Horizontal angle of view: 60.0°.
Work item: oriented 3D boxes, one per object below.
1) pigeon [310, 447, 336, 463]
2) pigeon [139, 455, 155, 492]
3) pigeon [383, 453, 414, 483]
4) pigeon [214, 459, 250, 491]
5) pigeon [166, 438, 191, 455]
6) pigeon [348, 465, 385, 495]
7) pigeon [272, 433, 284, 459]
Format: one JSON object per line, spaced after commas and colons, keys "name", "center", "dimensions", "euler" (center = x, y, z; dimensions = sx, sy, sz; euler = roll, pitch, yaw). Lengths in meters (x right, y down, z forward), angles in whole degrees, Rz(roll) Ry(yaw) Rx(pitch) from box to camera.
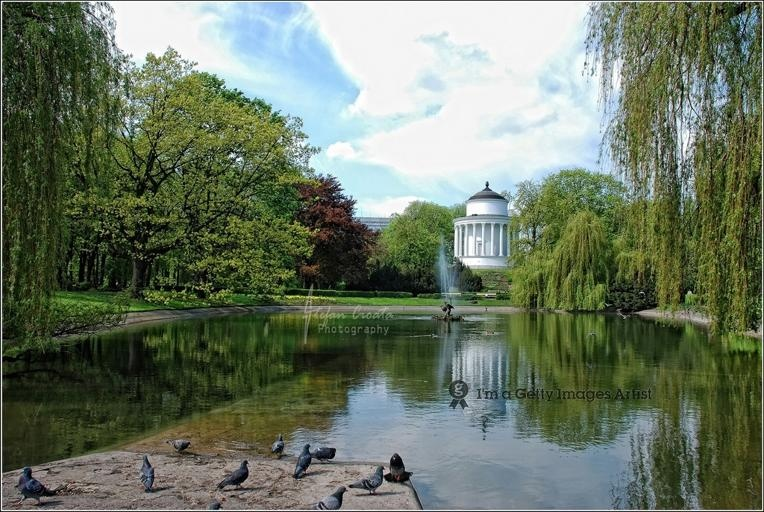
{"name": "pigeon", "center": [-1.198, 3.939, 13.197], "dimensions": [0.639, 0.282, 0.208], "euler": [9, -6, 16]}
{"name": "pigeon", "center": [-4.377, 4.072, 12.285], "dimensions": [0.215, 0.495, 0.503], "euler": [-2, -31, -26]}
{"name": "pigeon", "center": [0.307, 4.042, 12.602], "dimensions": [0.415, 0.321, 0.602], "euler": [-5, -40, 0]}
{"name": "pigeon", "center": [-2.773, 4.144, 12.380], "dimensions": [0.780, 0.472, 0.281], "euler": [-13, -19, -34]}
{"name": "pigeon", "center": [-4.232, 3.919, 13.805], "dimensions": [0.397, 0.222, 0.623], "euler": [-2, 4, -25]}
{"name": "pigeon", "center": [-0.302, 4.153, 12.255], "dimensions": [0.637, 0.393, 0.351], "euler": [1, 4, 16]}
{"name": "pigeon", "center": [-2.145, 3.909, 13.604], "dimensions": [0.263, 0.323, 0.485], "euler": [-1, 4, -11]}
